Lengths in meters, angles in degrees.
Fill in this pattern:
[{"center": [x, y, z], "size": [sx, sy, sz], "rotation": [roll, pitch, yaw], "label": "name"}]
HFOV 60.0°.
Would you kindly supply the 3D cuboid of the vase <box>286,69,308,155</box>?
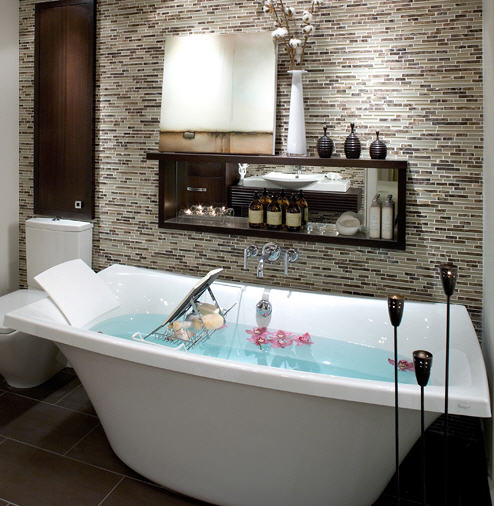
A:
[{"center": [0.307, -0.843, 2.608], "size": [0.114, 0.496, 0.106], "rotation": [0, 12, 0], "label": "vase"}]
